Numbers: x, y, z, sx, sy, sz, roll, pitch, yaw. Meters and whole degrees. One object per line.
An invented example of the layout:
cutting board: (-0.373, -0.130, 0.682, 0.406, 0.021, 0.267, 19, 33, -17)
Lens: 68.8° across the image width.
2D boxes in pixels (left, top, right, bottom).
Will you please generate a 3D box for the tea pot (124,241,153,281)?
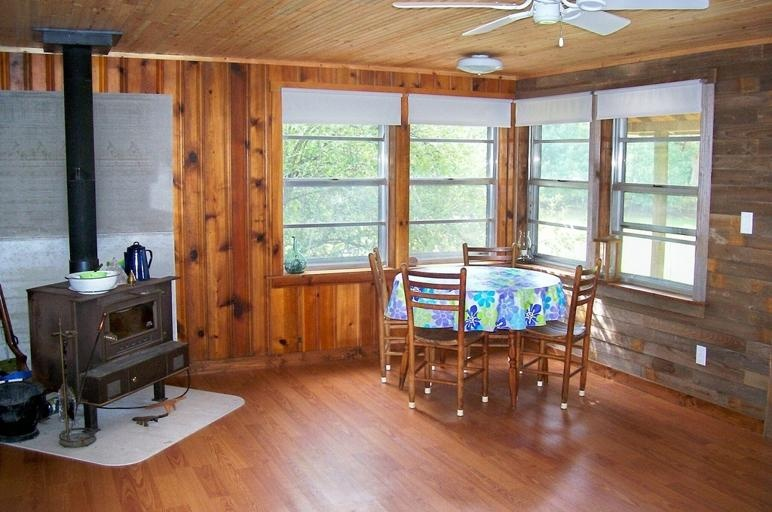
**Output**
tea pot: (-2.163, 0.055, 4.886, 0.209, 0.303, 0.265, -6, 12, -24)

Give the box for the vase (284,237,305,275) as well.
vase: (-0.966, -0.013, 5.897, 0.214, 0.377, 0.264, -3, 12, -10)

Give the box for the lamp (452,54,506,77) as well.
lamp: (0.894, -1.831, 5.416, 0.383, 0.162, 0.690, 1, 9, 10)

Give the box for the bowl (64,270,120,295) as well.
bowl: (-2.374, 0.203, 4.572, 0.371, 0.133, 0.385, -1, 10, 0)
